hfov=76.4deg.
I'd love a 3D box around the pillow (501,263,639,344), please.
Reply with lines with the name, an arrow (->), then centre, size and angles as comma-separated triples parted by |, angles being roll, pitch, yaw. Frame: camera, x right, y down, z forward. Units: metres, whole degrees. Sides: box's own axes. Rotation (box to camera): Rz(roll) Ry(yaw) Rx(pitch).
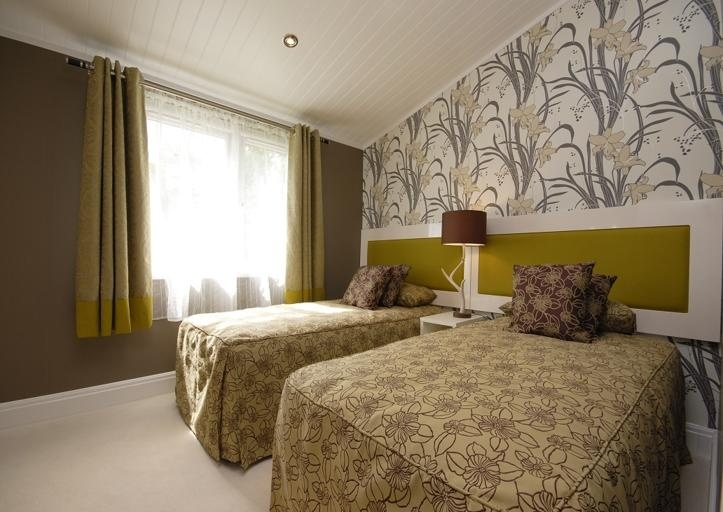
pillow -> 1.469, 0.315, 3.336 | 0.712, 0.561, 0.533 | -2, -4, 42

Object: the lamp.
lamp -> 0.910, 0.086, 4.173 | 0.370, 0.976, 0.405 | 0, 2, -10
